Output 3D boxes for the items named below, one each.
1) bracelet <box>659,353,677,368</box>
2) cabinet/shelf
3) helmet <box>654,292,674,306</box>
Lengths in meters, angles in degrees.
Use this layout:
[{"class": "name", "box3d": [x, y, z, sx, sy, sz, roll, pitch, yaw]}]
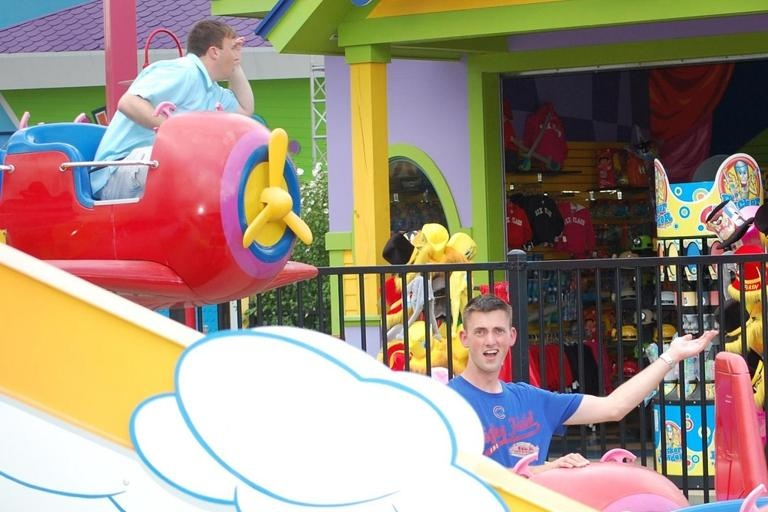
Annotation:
[{"class": "bracelet", "box3d": [1.638, 0.607, 6.737, 0.097, 0.091, 0.156, -1, -2, 13]}, {"class": "cabinet/shelf", "box3d": [2.163, 0.236, 13.526, 2.161, 2.342, 1.184, -2, 1, -25]}, {"class": "helmet", "box3d": [2.157, 0.326, 8.959, 0.158, 0.117, 0.210, 2, -2, 9]}]
